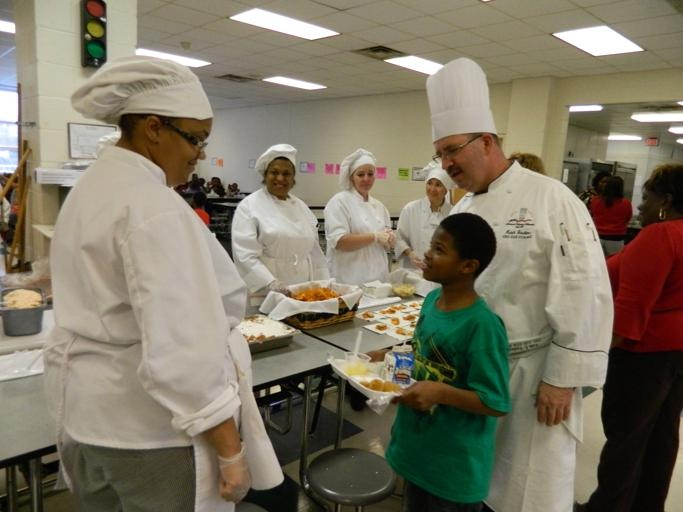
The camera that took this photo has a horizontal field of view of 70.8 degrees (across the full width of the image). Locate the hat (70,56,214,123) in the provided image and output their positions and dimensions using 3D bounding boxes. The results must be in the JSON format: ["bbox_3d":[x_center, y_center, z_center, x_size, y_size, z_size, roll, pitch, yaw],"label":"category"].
[{"bbox_3d":[-0.600,-0.461,1.444,0.319,0.160,0.217,-2,10,-7],"label":"hat"}]

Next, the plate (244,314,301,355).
[{"bbox_3d":[-0.364,0.369,2.283,0.170,0.041,0.172,12,14,35],"label":"plate"}]

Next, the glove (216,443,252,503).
[{"bbox_3d":[-0.313,0.647,1.462,0.101,0.142,0.144,-4,3,-24],"label":"glove"}]

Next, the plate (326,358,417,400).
[{"bbox_3d":[0.101,0.423,1.789,0.159,0.037,0.236,0,15,-34],"label":"plate"}]

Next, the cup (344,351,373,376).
[{"bbox_3d":[0.062,0.421,1.888,0.072,0.066,0.088,1,0,-26],"label":"cup"}]

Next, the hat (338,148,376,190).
[{"bbox_3d":[0.132,-0.683,3.852,0.271,0.307,0.142,16,-3,26],"label":"hat"}]

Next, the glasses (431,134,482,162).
[{"bbox_3d":[0.485,-0.451,1.967,0.115,0.034,0.113,-34,9,-21],"label":"glasses"}]
